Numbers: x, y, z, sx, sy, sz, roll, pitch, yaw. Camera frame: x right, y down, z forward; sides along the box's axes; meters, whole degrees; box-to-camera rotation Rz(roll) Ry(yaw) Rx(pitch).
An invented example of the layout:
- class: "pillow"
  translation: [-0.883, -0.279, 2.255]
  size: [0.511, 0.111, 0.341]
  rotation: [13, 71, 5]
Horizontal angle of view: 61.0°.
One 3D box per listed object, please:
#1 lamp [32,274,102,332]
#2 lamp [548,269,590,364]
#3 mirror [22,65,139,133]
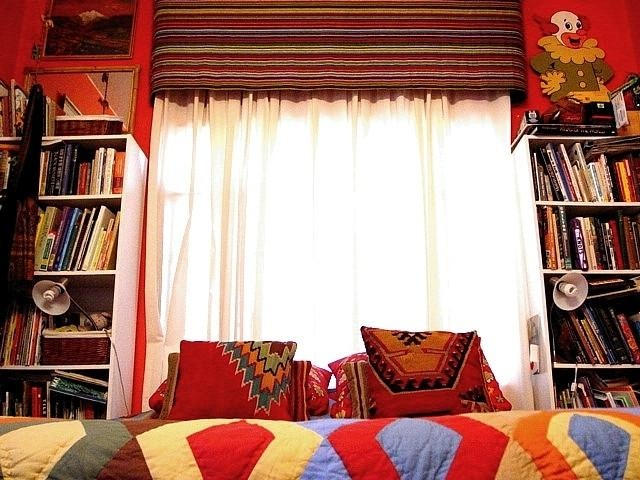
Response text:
- class: "lamp"
  translation: [-1.274, 0.320, 2.732]
  size: [0.239, 0.288, 0.290]
  rotation: [10, 15, 43]
- class: "lamp"
  translation: [1.213, 0.365, 2.677]
  size: [0.166, 0.431, 0.207]
  rotation: [5, 12, 27]
- class: "mirror"
  translation: [-1.368, -0.797, 3.117]
  size: [0.496, 0.372, 0.023]
  rotation: [1, -25, -7]
